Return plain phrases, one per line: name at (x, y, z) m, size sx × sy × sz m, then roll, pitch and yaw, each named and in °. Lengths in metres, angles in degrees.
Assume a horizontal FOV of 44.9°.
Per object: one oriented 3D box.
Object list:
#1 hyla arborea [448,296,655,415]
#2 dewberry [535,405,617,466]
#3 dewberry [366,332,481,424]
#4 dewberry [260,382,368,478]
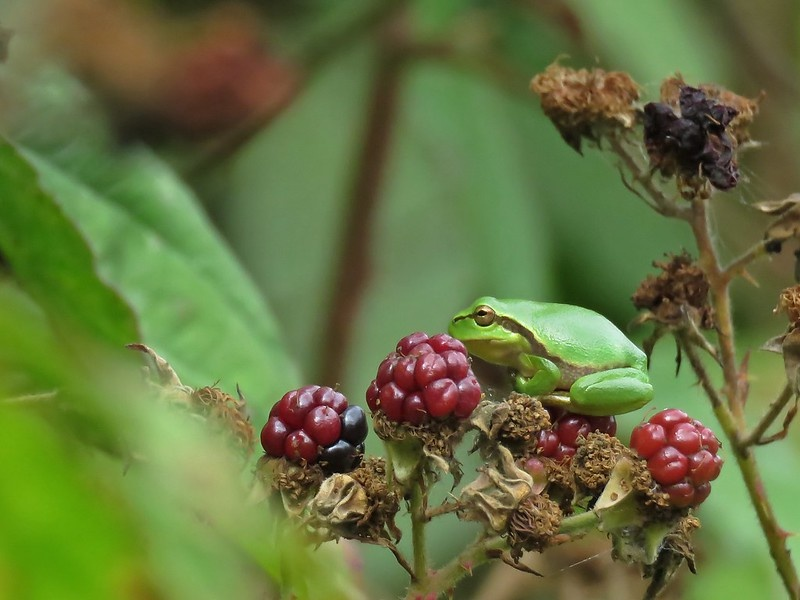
hyla arborea at (0.222, 0.076, 1.343) m, size 0.285 × 0.145 × 0.235 m, roll 6°, pitch 6°, yaw 23°
dewberry at (0.194, 0.149, 1.110) m, size 0.057 × 0.074 × 0.055 m, roll -8°, pitch 16°, yaw -28°
dewberry at (0.028, 0.085, 1.047) m, size 0.099 × 0.099 × 0.093 m, roll 10°, pitch 15°, yaw 33°
dewberry at (-0.086, 0.136, 1.016) m, size 0.092 × 0.087 × 0.081 m, roll 11°, pitch -2°, yaw 3°
